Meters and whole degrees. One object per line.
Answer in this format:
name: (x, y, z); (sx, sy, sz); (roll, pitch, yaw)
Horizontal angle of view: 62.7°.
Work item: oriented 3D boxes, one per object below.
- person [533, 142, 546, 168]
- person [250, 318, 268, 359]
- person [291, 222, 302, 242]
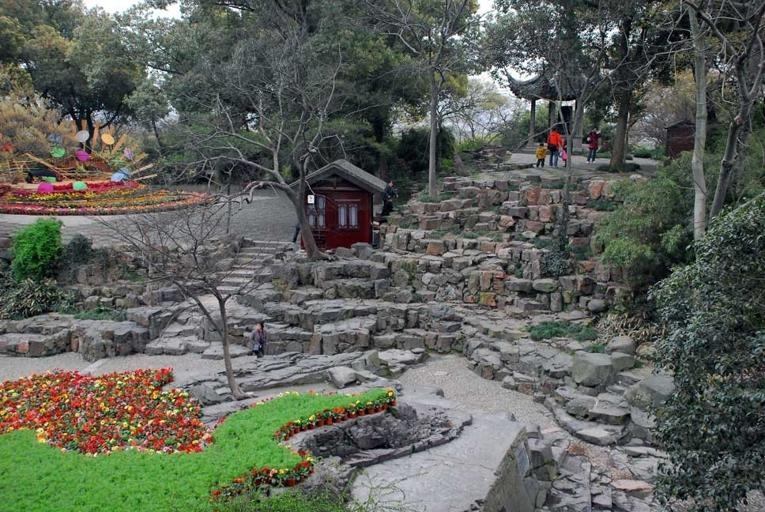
person: (9.674, -6.121, 38.678); (0.520, 1.387, 1.287); (0, 5, 10)
person: (-5.236, 3.616, 26.691); (0.656, 1.696, 0.539); (-8, 25, -23)
person: (-4.791, -1.264, 34.764); (0.395, 1.520, 0.487); (10, 38, 9)
